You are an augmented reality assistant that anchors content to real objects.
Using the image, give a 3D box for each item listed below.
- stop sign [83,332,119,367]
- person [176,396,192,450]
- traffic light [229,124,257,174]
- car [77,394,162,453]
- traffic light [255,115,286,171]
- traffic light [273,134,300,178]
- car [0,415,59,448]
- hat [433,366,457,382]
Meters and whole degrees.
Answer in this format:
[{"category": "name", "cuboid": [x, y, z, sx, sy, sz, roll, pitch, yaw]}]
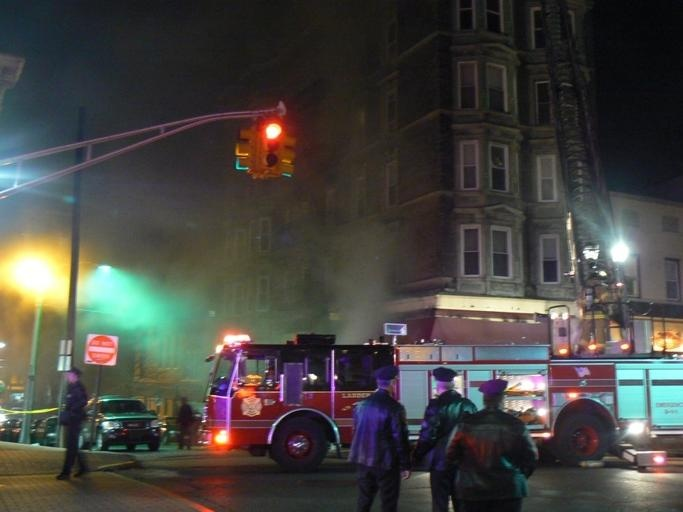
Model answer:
[{"category": "stop sign", "cuboid": [-6.281, 2.479, 19.225, 0.754, 0.897, 0.857, 6, -15, -21]}, {"category": "person", "cuboid": [-4.963, 5.307, 23.379, 0.509, 1.602, 1.054, 3, -15, -10]}, {"category": "traffic light", "cuboid": [-1.991, -2.295, 15.769, 0.547, 0.956, 0.367, 4, 10, -21]}, {"category": "car", "cuboid": [-6.955, 5.062, 22.252, 2.008, 1.684, 3.082, -9, -17, 32]}, {"category": "traffic light", "cuboid": [-1.475, -2.317, 15.586, 0.611, 1.135, 0.414, -1, -15, 4]}, {"category": "traffic light", "cuboid": [-1.197, -2.286, 15.603, 0.465, 0.455, 0.688, -18, 9, -17]}, {"category": "car", "cuboid": [-10.009, 5.643, 23.681, 2.051, 0.882, 1.183, -2, -2, -27]}, {"category": "hat", "cuboid": [1.619, 1.838, 11.381, 0.269, 0.082, 0.246, -1, 5, -26]}]
